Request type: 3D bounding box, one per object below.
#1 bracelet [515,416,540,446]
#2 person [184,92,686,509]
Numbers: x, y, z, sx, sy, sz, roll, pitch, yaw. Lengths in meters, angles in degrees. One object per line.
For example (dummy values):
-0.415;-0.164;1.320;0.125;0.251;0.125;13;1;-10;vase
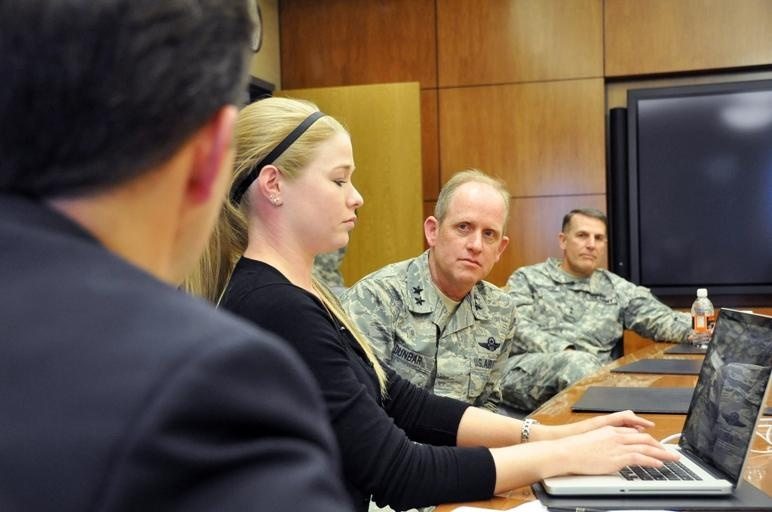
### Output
0.284;0.355;1.257;0.030;0.042;0.047;13;41;9;bracelet
0.184;0.069;1.538;1.027;1.063;0.602;-4;-1;-5;person
